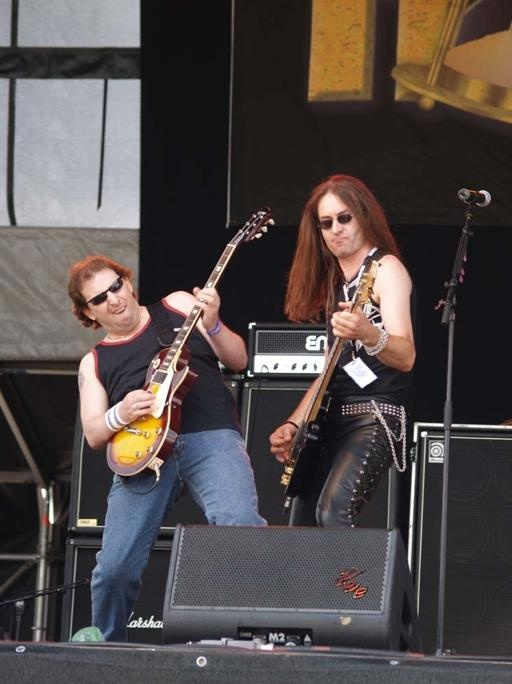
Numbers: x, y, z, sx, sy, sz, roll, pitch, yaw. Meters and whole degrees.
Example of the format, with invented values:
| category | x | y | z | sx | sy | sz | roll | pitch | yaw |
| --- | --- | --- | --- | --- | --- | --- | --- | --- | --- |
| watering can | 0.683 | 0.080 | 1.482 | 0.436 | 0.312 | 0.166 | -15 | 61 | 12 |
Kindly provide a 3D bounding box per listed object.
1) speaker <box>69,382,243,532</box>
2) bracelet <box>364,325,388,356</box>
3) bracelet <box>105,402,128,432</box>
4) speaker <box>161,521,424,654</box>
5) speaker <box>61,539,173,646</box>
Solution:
| category | x | y | z | sx | sy | sz | roll | pitch | yaw |
| --- | --- | --- | --- | --- | --- | --- | --- | --- | --- |
| speaker | -0.422 | 0.541 | 3.743 | 0.695 | 0.516 | 0.266 | -6 | -12 | 33 |
| bracelet | 0.349 | 0.007 | 2.590 | 0.056 | 0.105 | 0.078 | 11 | 27 | 11 |
| bracelet | -0.446 | 0.242 | 2.833 | 0.073 | 0.108 | 0.031 | 24 | 34 | 34 |
| speaker | 0.015 | 0.515 | 2.025 | 0.555 | 0.229 | 0.262 | 9 | 15 | -24 |
| speaker | -0.709 | 1.107 | 3.944 | 0.237 | 0.510 | 0.592 | 3 | -17 | -8 |
